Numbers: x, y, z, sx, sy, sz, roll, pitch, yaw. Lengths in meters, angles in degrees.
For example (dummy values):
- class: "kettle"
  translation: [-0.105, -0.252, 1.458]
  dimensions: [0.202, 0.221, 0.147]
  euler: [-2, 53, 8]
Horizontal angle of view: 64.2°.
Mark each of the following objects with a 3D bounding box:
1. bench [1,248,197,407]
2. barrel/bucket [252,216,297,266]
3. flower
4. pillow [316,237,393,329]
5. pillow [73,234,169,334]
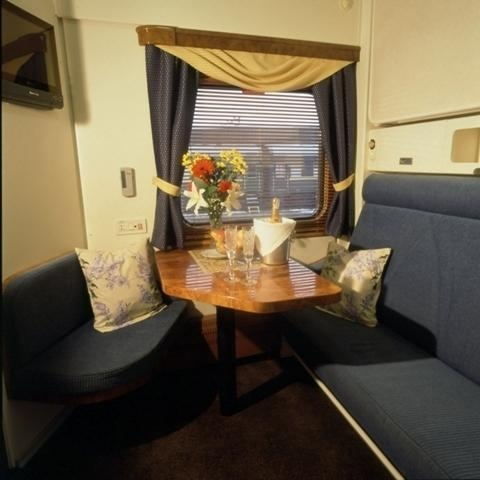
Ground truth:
- class: "bench"
  translation: [-0.687, 0.193, 1.743]
  dimensions: [0.455, 0.522, 0.738]
  euler: [2, 11, 12]
- class: "barrel/bucket"
  translation: [0.160, -0.016, 1.936]
  dimensions: [0.198, 0.286, 0.204]
  euler: [0, 4, 0]
- class: "flower"
  translation: [-0.117, -0.257, 2.092]
  dimensions: [0.284, 0.457, 0.357]
  euler: [2, 8, 16]
- class: "pillow"
  translation: [0.565, 0.216, 2.151]
  dimensions: [0.358, 0.497, 0.151]
  euler: [9, 22, 11]
- class: "pillow"
  translation: [-0.641, 0.233, 2.104]
  dimensions: [0.372, 0.438, 0.218]
  euler: [-10, 3, -33]
